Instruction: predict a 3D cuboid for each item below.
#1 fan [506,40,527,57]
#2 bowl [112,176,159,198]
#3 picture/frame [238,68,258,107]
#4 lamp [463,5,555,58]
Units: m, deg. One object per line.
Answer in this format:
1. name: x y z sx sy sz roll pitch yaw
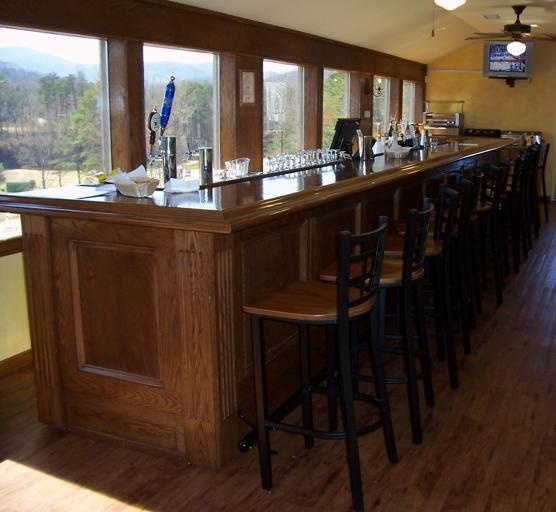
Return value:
1. fan: 3.751 -3.261 7.794 0.200 0.210 0.318 6 13 35
2. bowl: -0.636 -0.309 2.225 0.184 0.086 0.213 -4 11 -16
3. picture/frame: -0.363 -1.946 5.725 0.037 0.385 0.383 4 31 23
4. lamp: 4.001 -3.848 8.493 1.273 0.636 1.283 0 5 -21
